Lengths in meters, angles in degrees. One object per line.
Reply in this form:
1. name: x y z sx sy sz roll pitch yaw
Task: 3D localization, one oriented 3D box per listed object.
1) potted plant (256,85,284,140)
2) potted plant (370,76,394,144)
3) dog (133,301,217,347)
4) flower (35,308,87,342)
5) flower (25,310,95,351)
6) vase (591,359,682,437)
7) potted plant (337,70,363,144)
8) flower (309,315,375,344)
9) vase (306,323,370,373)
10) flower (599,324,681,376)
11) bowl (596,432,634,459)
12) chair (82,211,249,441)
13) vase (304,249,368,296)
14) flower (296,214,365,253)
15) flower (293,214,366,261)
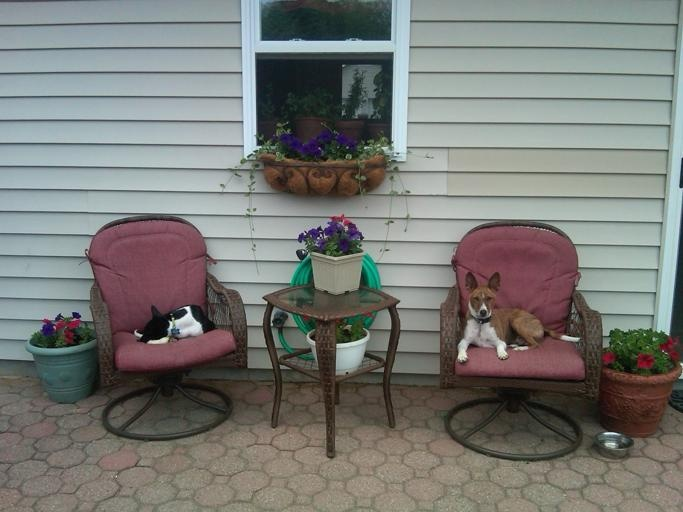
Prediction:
1. potted plant: -0.564 -1.081 4.565 0.178 0.400 0.126 -7 24 -13
2. potted plant: 0.287 -1.130 4.520 0.143 0.473 0.144 -2 23 2
3. dog: -1.160 0.465 4.219 0.300 0.237 0.551 26 21 33
4. flower: -2.064 0.531 4.488 0.291 0.148 0.299 -10 15 -43
5. flower: -2.066 0.568 4.507 0.372 0.131 0.323 7 8 30
6. vase: 1.954 0.956 4.256 0.632 0.385 0.547 0 9 2
7. potted plant: 0.087 -1.125 4.551 0.162 0.509 0.191 15 29 36
8. flower: 0.052 0.507 4.165 0.293 0.084 0.257 4 10 34
9. vase: -0.029 0.620 4.091 0.379 0.175 0.335 -2 7 -15
10. flower: 1.971 0.636 4.048 0.411 0.151 0.385 -22 29 -33
11. bowl: 1.745 1.221 3.936 0.220 0.091 0.207 -1 19 0
12. chair: -1.223 0.473 4.298 1.033 1.329 1.158 -6 22 -10
13. vase: -0.061 0.117 4.230 0.338 0.217 0.368 3 5 39
14. flower: -0.085 -0.146 4.134 0.361 0.241 0.265 18 28 42
15. flower: -0.092 -0.121 4.195 0.421 0.201 0.370 -1 7 -23
